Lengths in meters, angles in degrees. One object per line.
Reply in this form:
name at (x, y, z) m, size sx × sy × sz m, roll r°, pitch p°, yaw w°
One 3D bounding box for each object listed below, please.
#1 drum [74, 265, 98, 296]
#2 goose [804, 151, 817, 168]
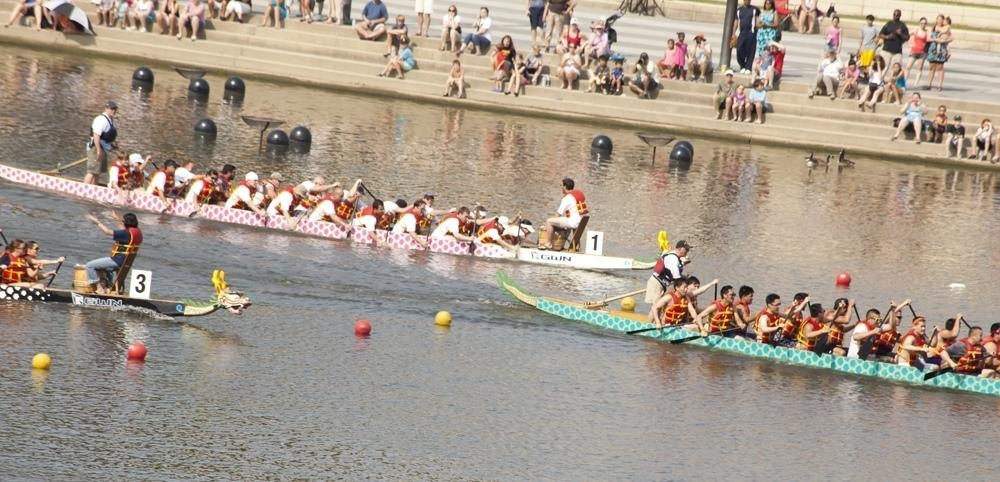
drum at (-13.829, 1.237, 60.188) m, size 1.078 × 0.884 × 0.902 m, roll 0°, pitch 0°, yaw -8°
goose at (12.626, -3.238, 73.639) m, size 0.629 × 0.282 × 0.647 m, roll -1°, pitch -10°, yaw 5°
